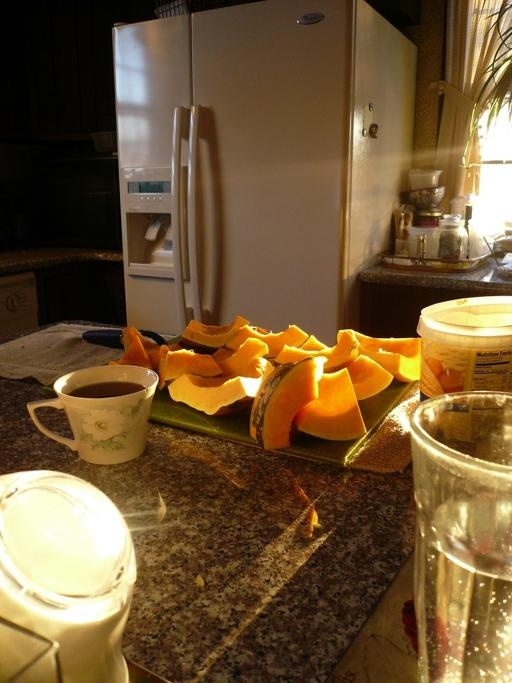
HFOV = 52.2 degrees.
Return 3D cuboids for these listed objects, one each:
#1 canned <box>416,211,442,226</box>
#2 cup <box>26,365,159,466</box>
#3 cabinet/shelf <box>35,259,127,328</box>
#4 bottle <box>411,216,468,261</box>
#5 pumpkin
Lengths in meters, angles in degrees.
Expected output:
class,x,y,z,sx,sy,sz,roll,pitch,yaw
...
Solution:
class,x,y,z,sx,sy,sz,roll,pitch,yaw
canned,0.755,-0.533,2.314,0.098,0.092,0.098,9,16,35
cup,-0.155,0.071,0.549,0.132,0.083,0.097,-3,21,-10
cabinet/shelf,-0.977,-0.286,2.870,0.257,0.340,0.370,11,18,36
bottle,0.725,-0.416,2.086,0.232,0.169,0.377,4,17,16
pumpkin,0.005,0.037,0.668,0.257,0.061,0.213,10,21,34
